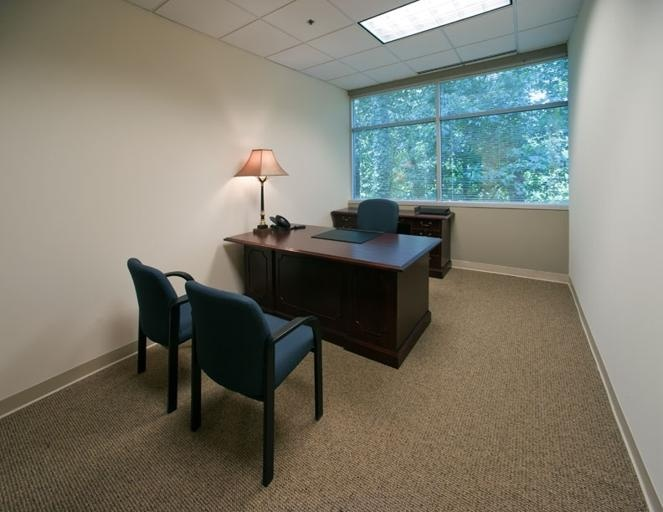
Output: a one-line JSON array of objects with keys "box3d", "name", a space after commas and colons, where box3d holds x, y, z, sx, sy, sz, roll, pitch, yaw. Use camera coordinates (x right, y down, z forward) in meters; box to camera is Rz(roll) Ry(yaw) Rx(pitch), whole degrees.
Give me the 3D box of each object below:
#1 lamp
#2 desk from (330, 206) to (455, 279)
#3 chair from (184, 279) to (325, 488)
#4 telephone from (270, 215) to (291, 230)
[{"box3d": [-0.608, -0.580, 4.135, 0.408, 0.717, 0.454, 0, 10, -2], "name": "lamp"}, {"box3d": [0.601, -0.180, 5.060, 1.191, 0.742, 0.498, 3, 16, 11], "name": "desk"}, {"box3d": [-0.451, 0.583, 2.773, 0.711, 1.092, 0.715, 20, 27, 37], "name": "chair"}, {"box3d": [-0.459, -0.299, 4.129, 0.139, 0.059, 0.142, 21, 8, 38], "name": "telephone"}]
